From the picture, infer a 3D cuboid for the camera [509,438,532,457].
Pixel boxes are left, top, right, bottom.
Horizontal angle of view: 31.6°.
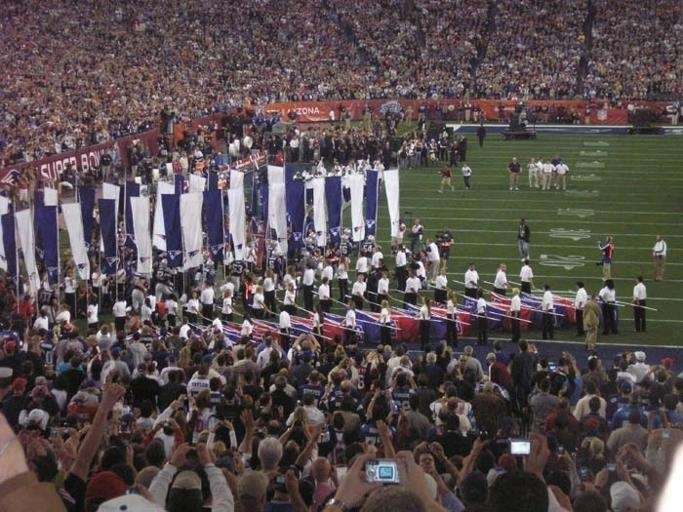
[{"bbox_3d":[4.198,4.522,28.491,0.468,0.421,0.149,0,2,10],"label":"camera"}]
